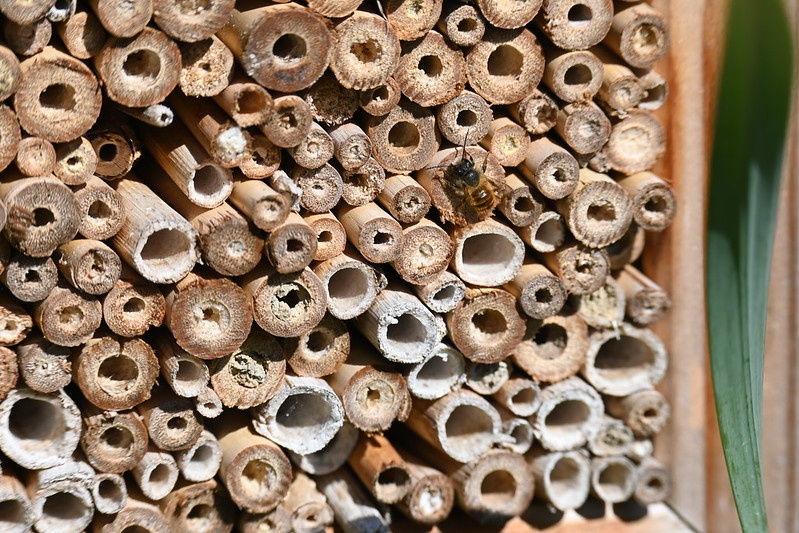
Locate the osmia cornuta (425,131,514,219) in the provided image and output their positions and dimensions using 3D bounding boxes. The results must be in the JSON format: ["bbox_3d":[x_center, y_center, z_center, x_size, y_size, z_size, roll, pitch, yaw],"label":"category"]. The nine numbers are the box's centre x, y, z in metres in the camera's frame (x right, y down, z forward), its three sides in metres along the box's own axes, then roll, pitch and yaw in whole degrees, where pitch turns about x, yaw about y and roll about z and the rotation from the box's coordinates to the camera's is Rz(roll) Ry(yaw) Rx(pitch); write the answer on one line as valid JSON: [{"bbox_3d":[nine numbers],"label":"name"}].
[{"bbox_3d":[0.328,-0.425,4.597,0.265,0.389,0.120,-6,-63,-8],"label":"osmia cornuta"}]
